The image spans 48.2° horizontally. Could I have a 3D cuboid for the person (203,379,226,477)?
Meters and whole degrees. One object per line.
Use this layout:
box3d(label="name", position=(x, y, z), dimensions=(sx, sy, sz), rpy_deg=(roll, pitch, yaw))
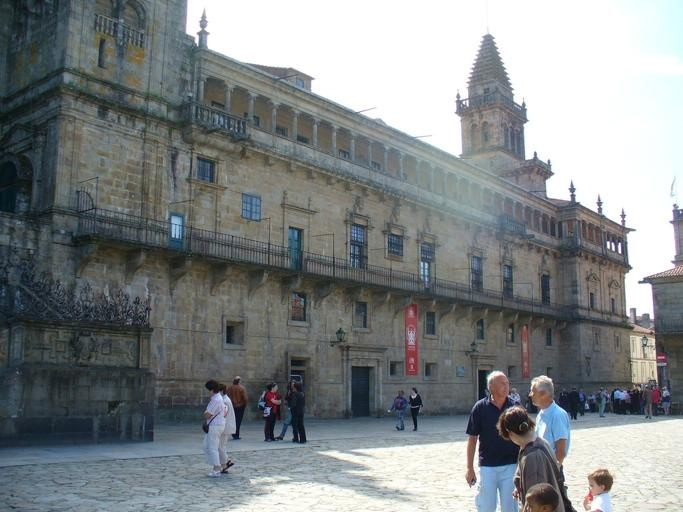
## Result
box3d(label="person", position=(-3.036, 4.140, 18.413), dimensions=(0.471, 2.255, 0.697), rpy_deg=(1, -13, -9))

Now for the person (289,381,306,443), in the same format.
box3d(label="person", position=(-1.408, 5.068, 24.665), dimensions=(0.518, 1.952, 1.069), rpy_deg=(0, -13, -3))

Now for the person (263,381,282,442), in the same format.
box3d(label="person", position=(-2.334, 5.247, 25.555), dimensions=(0.496, 1.912, 1.564), rpy_deg=(1, -13, -6))

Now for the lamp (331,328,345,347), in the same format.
box3d(label="lamp", position=(-0.159, 3.894, 37.448), dimensions=(0.757, 1.010, 1.518), rpy_deg=(-1, -14, 0))

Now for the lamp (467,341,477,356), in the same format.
box3d(label="lamp", position=(8.027, 5.597, 46.368), dimensions=(0.642, 1.017, 0.641), rpy_deg=(6, -11, -16))

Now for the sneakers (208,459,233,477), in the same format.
box3d(label="sneakers", position=(-2.875, 5.090, 18.244), dimensions=(0.209, 0.311, 0.639), rpy_deg=(-11, -12, 34))
